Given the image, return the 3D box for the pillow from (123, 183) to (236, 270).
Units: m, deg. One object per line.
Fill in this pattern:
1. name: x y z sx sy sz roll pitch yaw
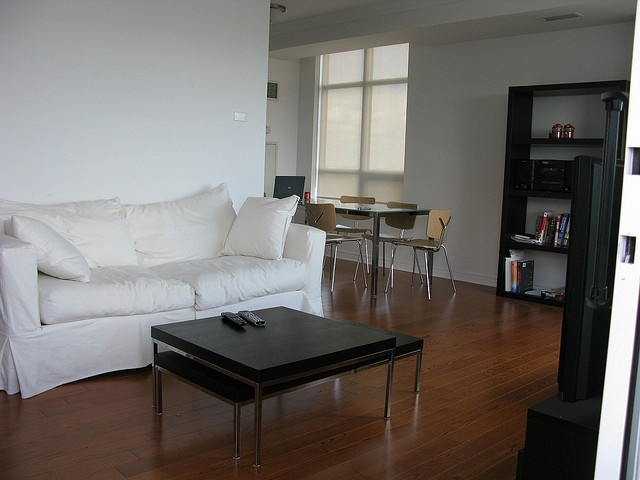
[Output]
1. pillow: -1.243 -0.097 4.005 0.753 0.425 0.226 -12 -19 -30

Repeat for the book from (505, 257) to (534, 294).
1. book: 2.410 0.427 5.570 0.485 0.419 0.278 1 3 -33

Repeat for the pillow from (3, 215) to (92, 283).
1. pillow: -1.716 0.054 2.946 0.340 0.417 0.366 11 12 42

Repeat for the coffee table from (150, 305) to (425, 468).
1. coffee table: -0.366 0.508 2.460 1.098 0.348 0.775 -4 9 -40

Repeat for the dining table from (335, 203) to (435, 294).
1. dining table: 0.755 -0.137 5.900 1.153 1.025 1.483 -5 9 -40

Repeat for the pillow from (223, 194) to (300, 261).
1. pillow: -0.460 -0.096 4.129 0.668 0.572 0.194 3 -22 35
